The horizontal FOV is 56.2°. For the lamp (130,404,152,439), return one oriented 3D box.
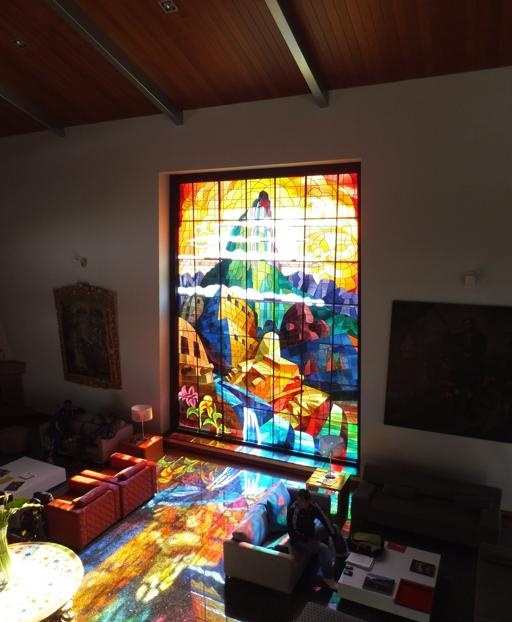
[{"bbox_3d":[-2.228,2.192,9.461,0.351,0.786,0.963,-2,8,-9],"label":"lamp"}]

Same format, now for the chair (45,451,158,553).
[{"bbox_3d":[-2.457,2.728,7.012,0.770,0.709,1.499,8,14,23],"label":"chair"}]

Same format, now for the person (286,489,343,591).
[{"bbox_3d":[0.729,2.695,5.849,0.570,1.055,0.511,-7,8,45],"label":"person"}]

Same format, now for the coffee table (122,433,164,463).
[{"bbox_3d":[-2.167,2.565,9.043,0.485,0.321,0.505,3,9,23],"label":"coffee table"}]

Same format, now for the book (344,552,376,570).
[{"bbox_3d":[1.232,2.922,5.610,0.184,0.047,0.194,1,6,20],"label":"book"}]

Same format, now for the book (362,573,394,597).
[{"bbox_3d":[1.338,2.964,5.211,0.323,0.025,0.286,3,9,28],"label":"book"}]

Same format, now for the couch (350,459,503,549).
[{"bbox_3d":[2.355,2.778,6.734,1.905,0.614,0.938,3,9,30],"label":"couch"}]

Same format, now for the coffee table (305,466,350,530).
[{"bbox_3d":[1.123,2.757,7.081,0.597,0.899,0.674,0,-2,22],"label":"coffee table"}]

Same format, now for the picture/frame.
[{"bbox_3d":[-3.613,0.459,10.387,2.065,2.588,0.185,6,10,27],"label":"picture/frame"}]

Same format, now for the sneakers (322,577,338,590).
[{"bbox_3d":[0.874,3.185,5.675,0.195,0.142,0.072,3,7,39],"label":"sneakers"}]
